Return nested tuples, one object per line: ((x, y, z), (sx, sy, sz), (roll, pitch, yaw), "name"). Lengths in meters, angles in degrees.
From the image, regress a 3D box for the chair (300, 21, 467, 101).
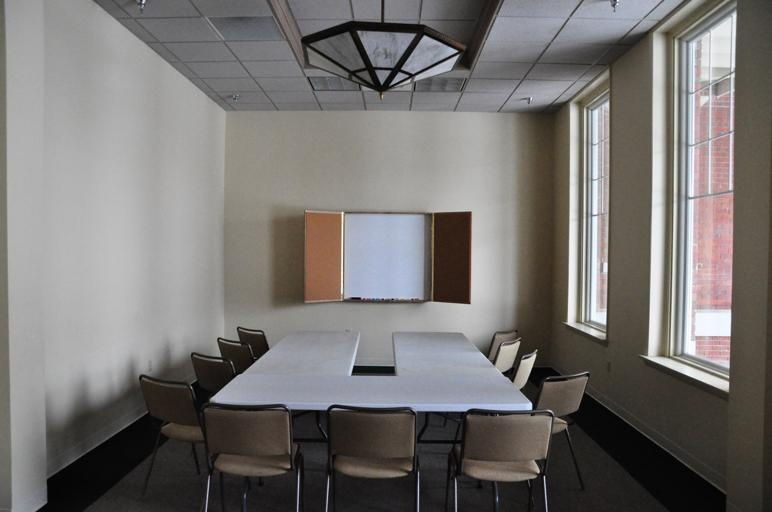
((-0.043, -1.990, 5.578), (1.581, 0.505, 0.704), (-1, 5, -2), "chair")
